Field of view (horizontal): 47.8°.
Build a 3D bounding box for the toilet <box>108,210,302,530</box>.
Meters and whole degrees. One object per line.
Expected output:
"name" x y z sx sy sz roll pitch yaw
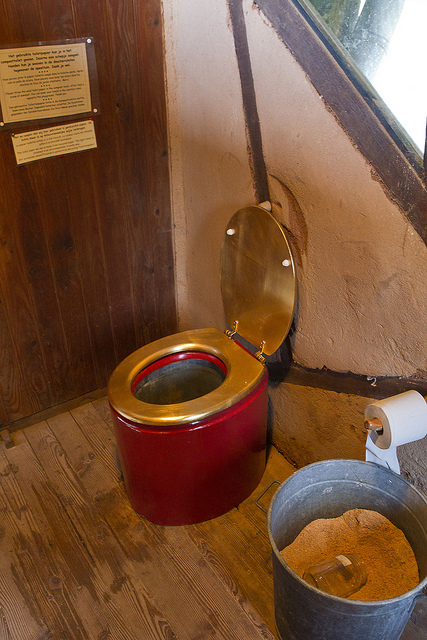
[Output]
"toilet" -0.051 0.133 1.247 0.467 0.760 0.327 -20 37 -23
